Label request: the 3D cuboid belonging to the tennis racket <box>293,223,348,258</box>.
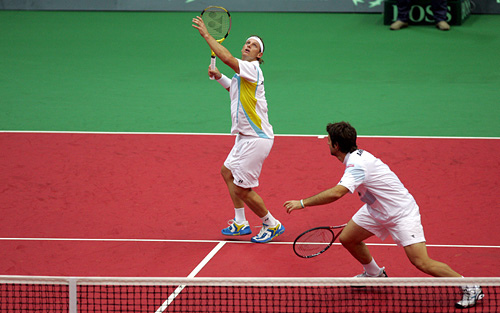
[{"bbox_3d":[1.043,1.359,10.568,1.145,0.438,0.058,-26,57,-4],"label":"tennis racket"}]
